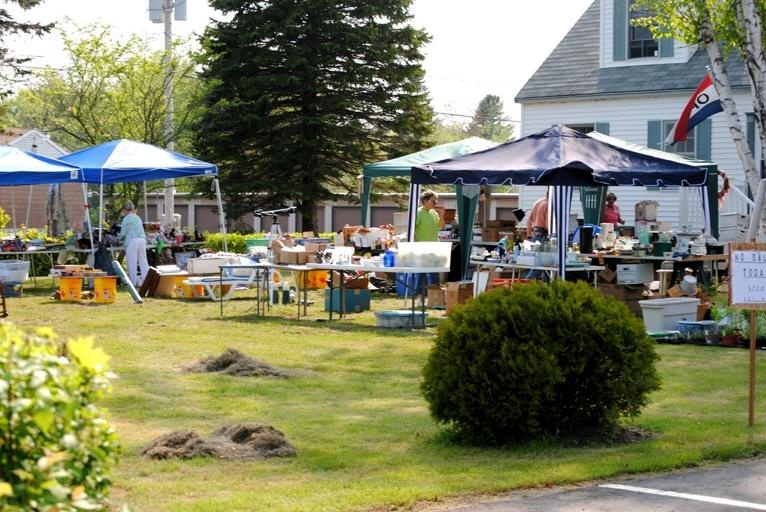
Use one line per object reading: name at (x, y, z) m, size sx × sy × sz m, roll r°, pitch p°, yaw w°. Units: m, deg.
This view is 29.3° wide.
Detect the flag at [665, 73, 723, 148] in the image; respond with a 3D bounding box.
flag at (7.641, -3.548, 34.582) m, size 1.098 × 0.333 × 3.249 m, roll 18°, pitch 47°, yaw 19°

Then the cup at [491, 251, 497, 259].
cup at (2.345, -0.005, 30.954) m, size 0.095 × 0.153 × 0.167 m, roll 4°, pitch -5°, yaw -30°

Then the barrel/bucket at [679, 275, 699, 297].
barrel/bucket at (6.261, 0.630, 30.029) m, size 0.444 × 0.393 × 0.413 m, roll 1°, pitch -2°, yaw 0°

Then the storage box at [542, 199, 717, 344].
storage box at (5.295, 0.539, 30.090) m, size 2.304 × 2.113 × 3.100 m, roll -1°, pitch -1°, yaw -9°

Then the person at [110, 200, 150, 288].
person at (-5.805, -0.248, 33.972) m, size 0.665 × 1.995 × 1.390 m, roll -1°, pitch -1°, yaw -10°

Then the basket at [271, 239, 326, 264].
basket at (-1.819, -0.025, 33.022) m, size 0.837 × 0.286 × 0.772 m, roll -2°, pitch 4°, yaw -38°

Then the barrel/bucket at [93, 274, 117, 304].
barrel/bucket at (-6.132, 0.772, 32.236) m, size 0.671 × 0.576 × 0.564 m, roll 0°, pitch -1°, yaw -38°

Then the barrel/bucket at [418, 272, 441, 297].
barrel/bucket at (1.026, 0.620, 32.214) m, size 0.683 × 0.438 × 0.646 m, roll 0°, pitch -5°, yaw 0°

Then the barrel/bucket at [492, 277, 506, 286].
barrel/bucket at (2.420, 0.550, 30.484) m, size 0.215 × 0.137 × 0.197 m, roll -1°, pitch -3°, yaw 0°

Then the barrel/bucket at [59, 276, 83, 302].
barrel/bucket at (-7.075, 0.760, 32.661) m, size 0.568 × 0.499 × 0.573 m, roll 0°, pitch -1°, yaw 0°

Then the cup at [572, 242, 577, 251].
cup at (4.145, -0.172, 31.683) m, size 0.149 × 0.184 × 0.145 m, roll 0°, pitch 3°, yaw 0°

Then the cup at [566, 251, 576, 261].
cup at (3.829, 0.029, 29.842) m, size 0.249 × 0.206 × 0.165 m, roll 0°, pitch -5°, yaw -1°
